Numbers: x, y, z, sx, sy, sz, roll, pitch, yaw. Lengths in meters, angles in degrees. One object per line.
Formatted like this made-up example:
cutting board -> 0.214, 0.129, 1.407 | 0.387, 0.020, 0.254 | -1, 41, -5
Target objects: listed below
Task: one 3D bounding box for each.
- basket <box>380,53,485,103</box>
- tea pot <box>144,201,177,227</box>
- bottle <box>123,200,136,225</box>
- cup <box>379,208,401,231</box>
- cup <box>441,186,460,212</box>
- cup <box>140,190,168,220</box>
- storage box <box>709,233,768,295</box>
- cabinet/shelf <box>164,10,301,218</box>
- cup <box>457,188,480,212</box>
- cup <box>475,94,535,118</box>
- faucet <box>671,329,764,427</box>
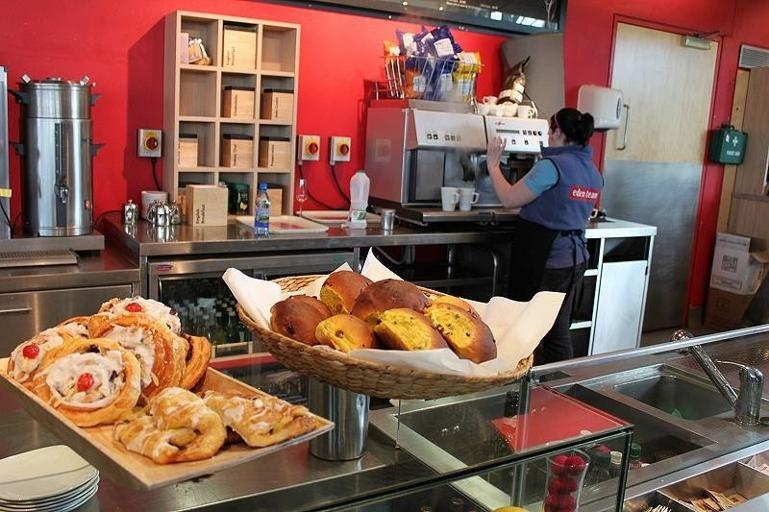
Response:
basket -> 0.325, -1.147, 3.815 | 0.553, 0.229, 0.363 | 1, 13, -18
tea pot -> -1.310, -0.231, 3.182 | 0.198, 0.156, 0.119 | 8, 10, 40
bottle -> -1.447, -0.242, 3.195 | 0.067, 0.110, 0.102 | -1, 15, -27
cup -> 0.016, -0.226, 3.454 | 0.091, 0.123, 0.152 | 5, 13, -4
cup -> 0.413, -0.367, 3.622 | 0.115, 0.144, 0.163 | -2, 15, -11
cup -> -1.368, -0.307, 3.288 | 0.153, 0.164, 0.195 | 3, 2, 15
storage box -> 3.420, 0.077, 5.386 | 0.463, 0.579, 0.461 | -5, 20, -34
cabinet/shelf -> -0.950, -0.852, 3.461 | 0.764, 1.182, 0.387 | 0, 15, -23
cup -> 0.595, -0.365, 3.665 | 0.123, 0.165, 0.182 | -9, 15, -38
cup -> 0.856, -1.047, 4.012 | 0.329, 0.107, 0.239 | -2, 13, -20
faucet -> 1.180, 0.401, 1.958 | 0.327, 0.237, 0.249 | 15, 16, 34
